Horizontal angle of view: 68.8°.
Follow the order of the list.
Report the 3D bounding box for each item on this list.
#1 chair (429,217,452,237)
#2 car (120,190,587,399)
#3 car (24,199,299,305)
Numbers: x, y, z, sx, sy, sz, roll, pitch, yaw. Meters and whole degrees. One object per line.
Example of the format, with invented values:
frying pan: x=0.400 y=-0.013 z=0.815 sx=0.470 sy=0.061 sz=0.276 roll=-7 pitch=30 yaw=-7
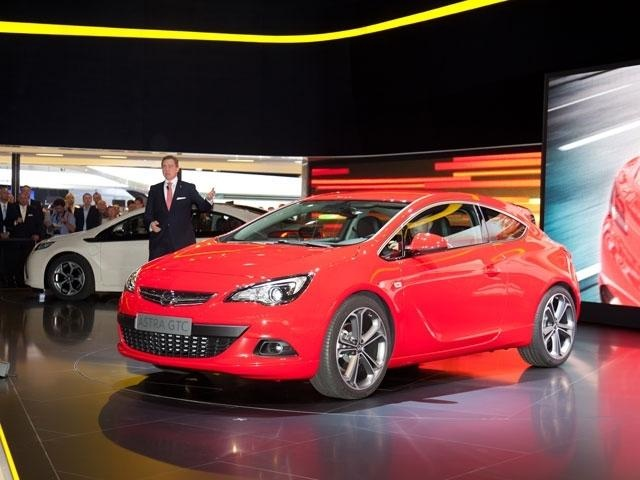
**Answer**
chair: x=1.127 y=-0.112 z=4.355 sx=0.165 sy=0.288 sz=0.219 roll=-3 pitch=-8 yaw=19
car: x=0.551 y=0.436 z=4.222 sx=3.542 sy=1.170 sz=1.990 roll=4 pitch=-4 yaw=-38
car: x=-4.479 y=0.402 z=10.234 sx=2.475 sy=1.813 sz=5.643 roll=1 pitch=-7 yaw=29
